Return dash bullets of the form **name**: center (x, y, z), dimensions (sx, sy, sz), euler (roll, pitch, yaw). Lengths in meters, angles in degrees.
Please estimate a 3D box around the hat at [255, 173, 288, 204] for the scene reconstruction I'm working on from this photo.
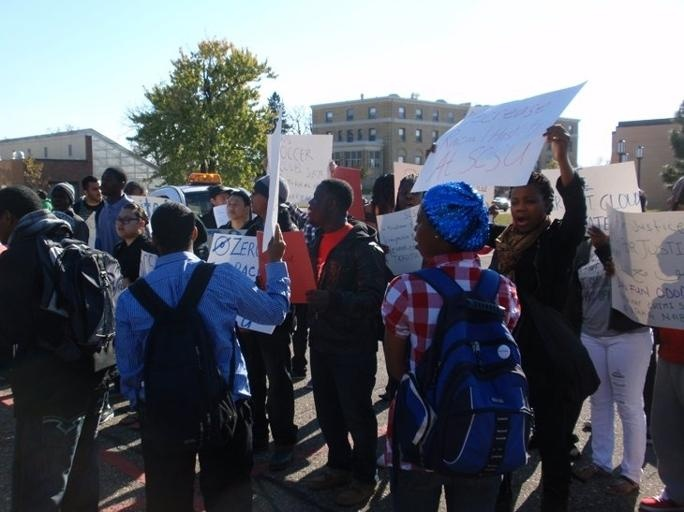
- **hat**: center (-0.705, -0.662, 5.997), dimensions (0.240, 0.349, 0.178), euler (0, -15, -46)

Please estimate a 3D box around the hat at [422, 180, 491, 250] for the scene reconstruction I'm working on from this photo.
- **hat**: center (0.642, -0.220, 3.540), dimensions (0.326, 0.393, 0.162), euler (-14, -18, -34)

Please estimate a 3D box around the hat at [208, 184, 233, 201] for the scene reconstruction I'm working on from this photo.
- **hat**: center (-1.971, -1.005, 9.581), dimensions (0.305, 0.174, 0.438), euler (-6, 0, -41)

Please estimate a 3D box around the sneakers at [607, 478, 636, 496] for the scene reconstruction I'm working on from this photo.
- **sneakers**: center (2.326, 1.902, 5.029), dimensions (0.216, 0.095, 0.116), euler (2, -6, -2)

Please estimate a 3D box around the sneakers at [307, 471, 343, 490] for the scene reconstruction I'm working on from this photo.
- **sneakers**: center (-0.125, 1.887, 5.181), dimensions (0.334, 0.141, 0.119), euler (5, 6, -23)

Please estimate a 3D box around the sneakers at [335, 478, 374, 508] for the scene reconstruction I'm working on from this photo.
- **sneakers**: center (0.102, 1.896, 4.937), dimensions (0.338, 0.144, 0.152), euler (1, 9, -33)

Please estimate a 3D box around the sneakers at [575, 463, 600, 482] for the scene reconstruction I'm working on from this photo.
- **sneakers**: center (2.109, 1.873, 5.270), dimensions (0.270, 0.104, 0.114), euler (-8, -34, -21)
